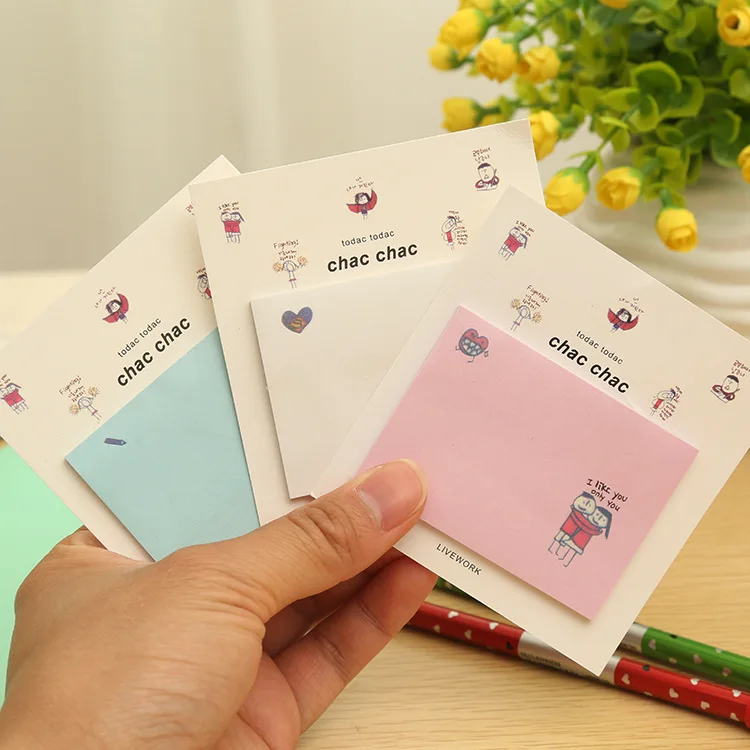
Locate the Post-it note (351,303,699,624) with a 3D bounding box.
[{"bbox_3d":[0.100,0.061,0.650,0.177,0.138,0.115,24,52,21],"label":"Post-it note"}]
